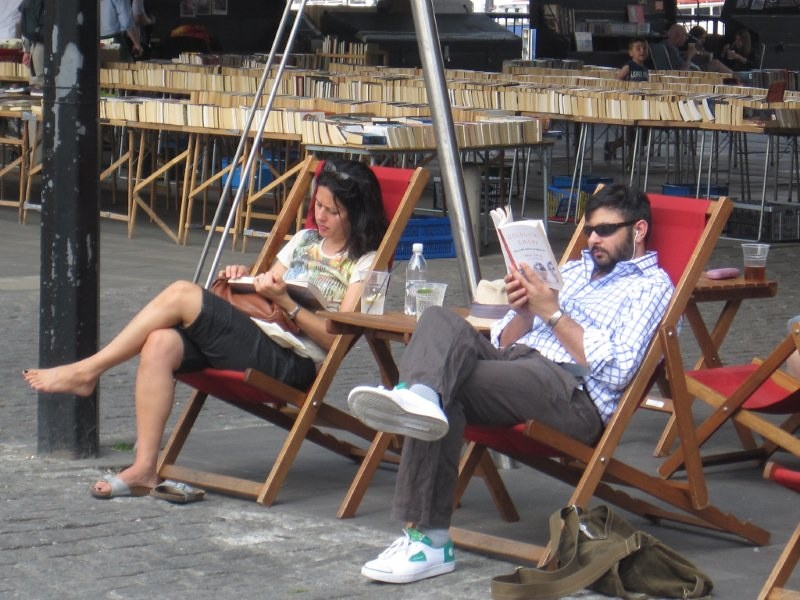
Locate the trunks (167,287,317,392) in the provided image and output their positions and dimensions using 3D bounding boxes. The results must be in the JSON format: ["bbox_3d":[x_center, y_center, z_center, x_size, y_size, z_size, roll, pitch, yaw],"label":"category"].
[{"bbox_3d":[-0.767,0.203,6.582,0.691,0.523,0.195,0,15,-6],"label":"trunks"}]

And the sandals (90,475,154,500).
[{"bbox_3d":[-1.367,0.900,6.444,0.229,0.059,0.119,9,1,-16],"label":"sandals"}]

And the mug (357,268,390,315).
[{"bbox_3d":[-0.143,-0.022,6.505,0.156,0.208,0.146,-2,-14,27],"label":"mug"}]

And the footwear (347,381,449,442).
[{"bbox_3d":[0.001,0.442,5.644,0.494,0.186,0.217,12,40,-3],"label":"footwear"}]

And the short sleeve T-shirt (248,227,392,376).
[{"bbox_3d":[-0.417,-0.020,7.006,0.508,0.771,0.820,12,-12,35],"label":"short sleeve T-shirt"}]

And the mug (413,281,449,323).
[{"bbox_3d":[0.125,0.019,6.412,0.200,0.202,0.204,-1,-15,7],"label":"mug"}]

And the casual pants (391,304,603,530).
[{"bbox_3d":[0.305,0.432,5.784,1.119,0.614,0.684,-21,9,-35],"label":"casual pants"}]

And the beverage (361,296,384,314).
[{"bbox_3d":[-0.144,0.019,6.446,0.087,0.057,0.086,2,4,21],"label":"beverage"}]

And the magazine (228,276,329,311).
[{"bbox_3d":[-0.587,-0.047,6.727,0.259,0.091,0.268,21,-11,-42],"label":"magazine"}]

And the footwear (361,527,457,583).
[{"bbox_3d":[0.039,1.085,5.784,0.451,0.189,0.172,-1,4,-24],"label":"footwear"}]

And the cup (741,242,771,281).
[{"bbox_3d":[1.943,-0.207,7.200,0.167,0.181,0.163,0,1,0],"label":"cup"}]

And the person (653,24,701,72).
[{"bbox_3d":[4.585,-3.924,21.613,0.662,1.078,0.619,-3,25,4],"label":"person"}]

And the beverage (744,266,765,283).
[{"bbox_3d":[1.926,-0.143,7.164,0.087,0.060,0.085,1,5,7],"label":"beverage"}]

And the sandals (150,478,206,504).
[{"bbox_3d":[-1.093,0.915,6.470,0.220,0.079,0.178,-11,18,-41],"label":"sandals"}]
